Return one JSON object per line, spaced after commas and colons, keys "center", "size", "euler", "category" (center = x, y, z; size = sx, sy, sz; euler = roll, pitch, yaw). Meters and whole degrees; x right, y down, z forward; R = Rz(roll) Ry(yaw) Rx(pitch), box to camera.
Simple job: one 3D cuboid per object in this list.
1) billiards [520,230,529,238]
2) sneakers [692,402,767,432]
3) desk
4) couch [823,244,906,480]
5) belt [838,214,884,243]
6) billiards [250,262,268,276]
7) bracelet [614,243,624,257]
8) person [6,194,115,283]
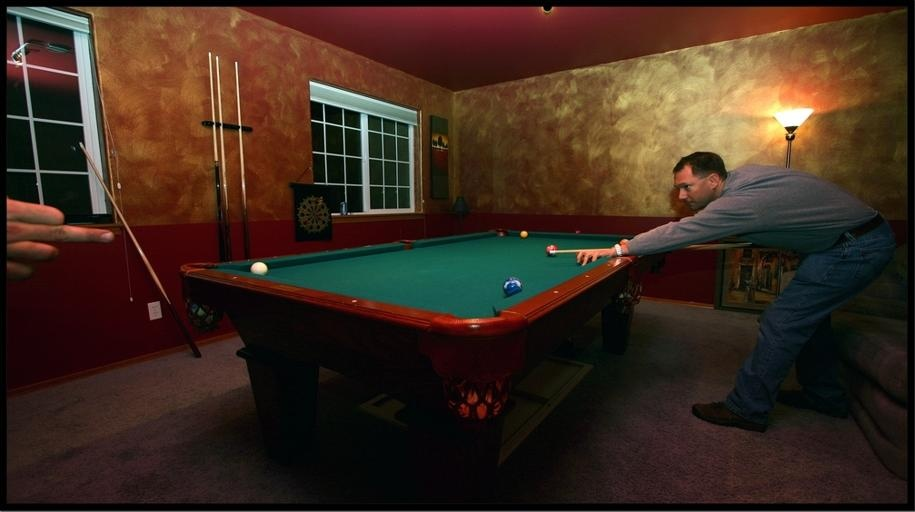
{"center": [0.761, -0.243, 6.551], "size": [0.092, 0.075, 0.086], "euler": [-7, 8, -32], "category": "billiards"}
{"center": [2.273, 1.357, 4.893], "size": [0.591, 0.193, 0.225], "euler": [7, -1, 23], "category": "sneakers"}
{"center": [-0.418, 0.535, 4.511], "size": [2.199, 0.924, 3.344], "euler": [1, 5, 31], "category": "desk"}
{"center": [3.346, 0.929, 4.794], "size": [0.629, 0.679, 1.988], "euler": [4, 19, 39], "category": "couch"}
{"center": [3.320, -0.214, 4.760], "size": [0.266, 0.065, 0.274], "euler": [-36, -14, 31], "category": "belt"}
{"center": [-1.591, 0.112, 4.696], "size": [0.130, 0.105, 0.114], "euler": [10, -19, -21], "category": "billiards"}
{"center": [1.389, -0.047, 5.008], "size": [0.090, 0.107, 0.115], "euler": [-7, 50, 6], "category": "bracelet"}
{"center": [-2.981, -0.109, 4.362], "size": [1.028, 0.518, 0.278], "euler": [0, 5, -2], "category": "person"}
